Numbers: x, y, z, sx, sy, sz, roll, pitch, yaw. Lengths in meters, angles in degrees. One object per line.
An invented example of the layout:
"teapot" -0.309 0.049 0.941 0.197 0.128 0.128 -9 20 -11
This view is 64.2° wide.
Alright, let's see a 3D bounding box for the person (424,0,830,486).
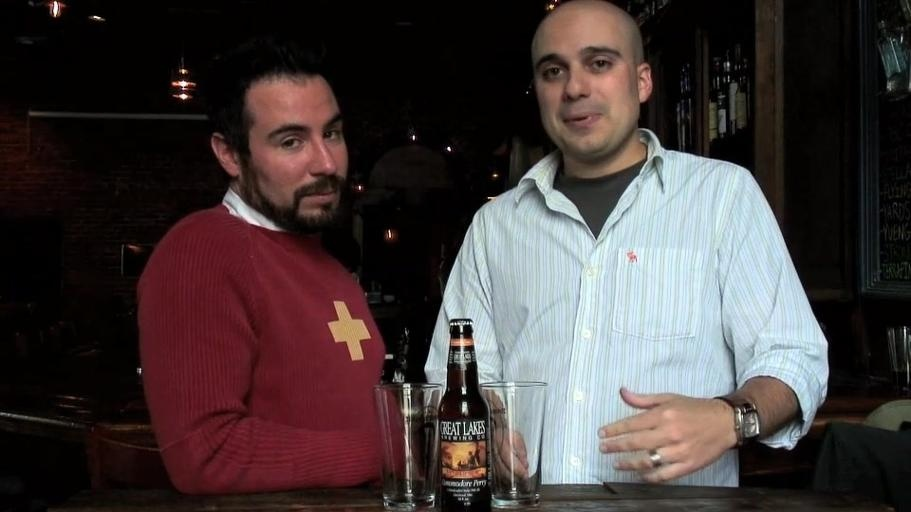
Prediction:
"person" 0.693 -0.101 3.070 0.940 1.939 1.181 -5 0 -36
